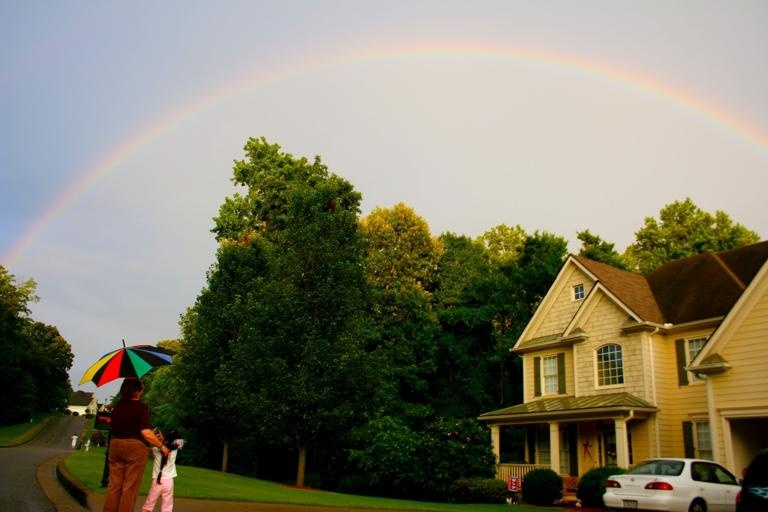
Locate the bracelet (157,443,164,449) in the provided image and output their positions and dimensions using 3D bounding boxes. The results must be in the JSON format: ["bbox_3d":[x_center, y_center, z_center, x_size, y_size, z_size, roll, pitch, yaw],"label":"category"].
[{"bbox_3d":[-6.870,5.859,22.364,0.194,0.144,0.193,4,2,-31],"label":"bracelet"}]

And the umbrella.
[{"bbox_3d":[-8.891,3.781,25.257,2.548,1.654,1.364,1,-23,12],"label":"umbrella"}]
